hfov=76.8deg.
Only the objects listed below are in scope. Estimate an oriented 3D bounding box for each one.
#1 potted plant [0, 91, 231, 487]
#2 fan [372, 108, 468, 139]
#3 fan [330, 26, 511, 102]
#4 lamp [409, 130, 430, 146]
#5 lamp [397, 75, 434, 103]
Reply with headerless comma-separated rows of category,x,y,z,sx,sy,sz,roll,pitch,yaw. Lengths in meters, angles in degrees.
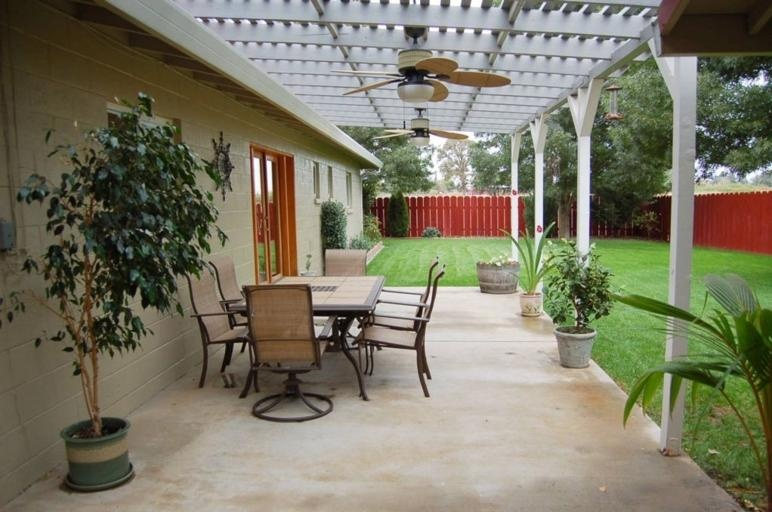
potted plant,-2.085,0.079,4.094,1.393,3.160,1.849,-4,5,-10
fan,0.560,-1.998,7.492,1.530,0.527,1.400,-3,14,-15
fan,0.459,-2.019,5.562,1.342,0.539,1.311,-1,2,-29
lamp,0.516,-1.734,7.232,0.238,0.163,0.239,0,-3,-1
lamp,0.341,-1.871,5.445,0.386,0.253,0.272,-3,4,5
